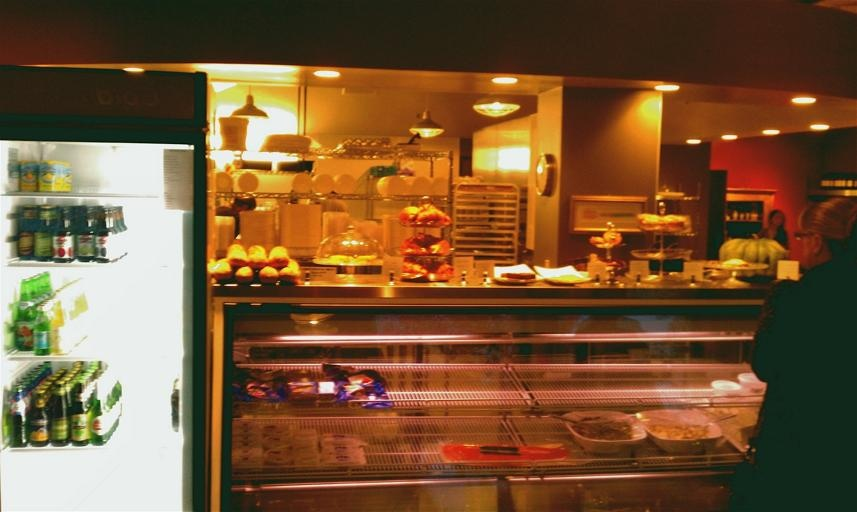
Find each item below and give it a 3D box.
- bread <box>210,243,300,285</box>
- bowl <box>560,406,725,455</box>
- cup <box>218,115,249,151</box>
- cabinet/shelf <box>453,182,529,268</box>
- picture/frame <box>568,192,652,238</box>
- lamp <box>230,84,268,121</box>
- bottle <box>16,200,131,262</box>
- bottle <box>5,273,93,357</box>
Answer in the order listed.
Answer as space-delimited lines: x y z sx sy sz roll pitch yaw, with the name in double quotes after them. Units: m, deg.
-1.130 0.060 4.722 0.575 0.249 0.388 0 3 -8 "bread"
1.450 1.155 4.857 0.801 0.081 0.417 -1 1 -2 "bowl"
-1.694 -1.050 6.188 0.234 0.281 0.188 -1 4 -16 "cup"
0.625 -0.363 8.008 0.735 0.889 0.233 0 4 -2 "cabinet/shelf"
1.510 -0.346 6.011 0.817 0.321 0.048 -1 3 -25 "picture/frame"
-1.560 -1.298 6.254 0.262 0.231 0.277 1 3 10 "lamp"
-2.271 -0.142 4.541 0.657 0.355 0.173 0 4 0 "bottle"
-2.408 0.354 4.554 0.358 0.494 0.280 1 4 10 "bottle"
